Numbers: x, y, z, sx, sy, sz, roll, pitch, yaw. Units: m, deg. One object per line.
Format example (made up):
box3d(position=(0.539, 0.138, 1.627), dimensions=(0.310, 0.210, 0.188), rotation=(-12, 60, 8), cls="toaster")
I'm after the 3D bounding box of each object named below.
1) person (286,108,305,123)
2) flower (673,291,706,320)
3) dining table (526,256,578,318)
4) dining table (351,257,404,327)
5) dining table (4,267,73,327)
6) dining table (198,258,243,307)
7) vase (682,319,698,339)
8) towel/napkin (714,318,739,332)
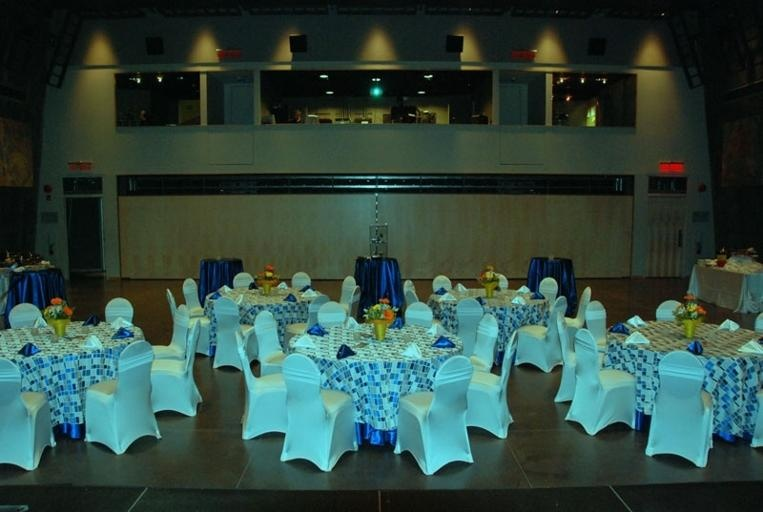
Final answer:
box3d(position=(-2.567, -4.084, 20.687), dimensions=(0.497, 0.533, 0.935), rotation=(1, -4, -8), cls="person")
box3d(position=(5.862, 0.942, 13.336), dimensions=(0.498, 0.539, 0.504), rotation=(-6, 10, -23), cls="flower")
box3d(position=(4.039, 0.725, 16.697), dimensions=(1.231, 1.547, 1.314), rotation=(0, 3, 9), cls="dining table")
box3d(position=(0.071, 0.737, 16.099), dimensions=(1.290, 1.514, 1.276), rotation=(0, -1, -9), cls="dining table")
box3d(position=(-7.871, 0.743, 15.579), dimensions=(1.466, 1.503, 1.542), rotation=(-1, -7, -5), cls="dining table")
box3d(position=(-3.544, 0.645, 16.556), dimensions=(1.071, 1.364, 1.027), rotation=(1, -1, -34), cls="dining table")
box3d(position=(5.101, 1.199, 11.600), dimensions=(0.291, 0.322, 0.302), rotation=(0, 2, -3), cls="vase")
box3d(position=(5.816, 1.180, 11.894), dimensions=(0.265, 0.136, 0.276), rotation=(-3, 1, -13), cls="towel/napkin")
